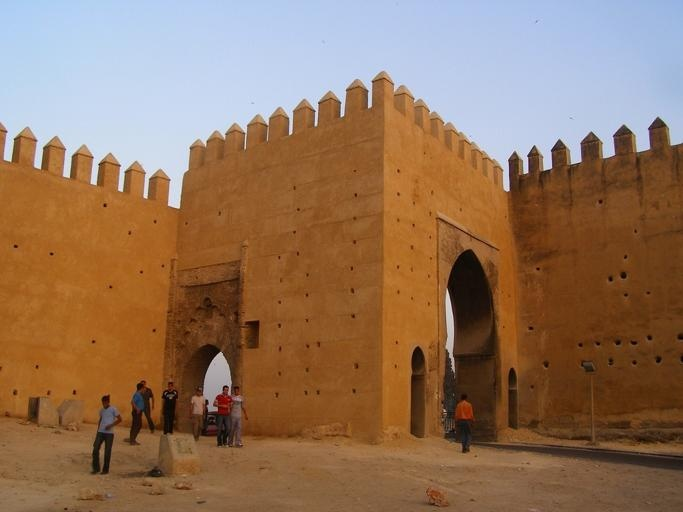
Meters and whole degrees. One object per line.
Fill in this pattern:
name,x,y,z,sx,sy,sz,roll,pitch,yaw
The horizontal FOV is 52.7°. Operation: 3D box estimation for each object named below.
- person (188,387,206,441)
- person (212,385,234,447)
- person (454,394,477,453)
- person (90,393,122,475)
person,-3.442,3.758,16.539,0.323,1.367,1.811,3,-3,-11
person,-2.581,3.392,14.896,0.383,1.285,0.772,3,-3,-9
person,2.898,3.906,16.411,0.374,1.380,1.363,2,-3,9
person,-4.126,3.092,12.050,0.406,1.245,0.635,4,-3,-20
